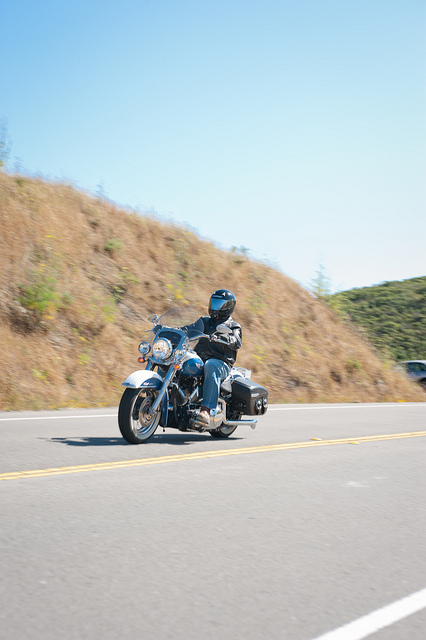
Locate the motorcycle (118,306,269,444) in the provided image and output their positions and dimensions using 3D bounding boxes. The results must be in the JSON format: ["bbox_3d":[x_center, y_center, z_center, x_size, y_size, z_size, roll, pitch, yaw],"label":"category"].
[{"bbox_3d":[-0.234,0.833,8.257,1.393,1.902,2.923,-1,-7,37],"label":"motorcycle"}]

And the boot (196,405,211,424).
[{"bbox_3d":[-0.141,1.327,7.799,0.143,0.256,0.238,3,-4,16],"label":"boot"}]
